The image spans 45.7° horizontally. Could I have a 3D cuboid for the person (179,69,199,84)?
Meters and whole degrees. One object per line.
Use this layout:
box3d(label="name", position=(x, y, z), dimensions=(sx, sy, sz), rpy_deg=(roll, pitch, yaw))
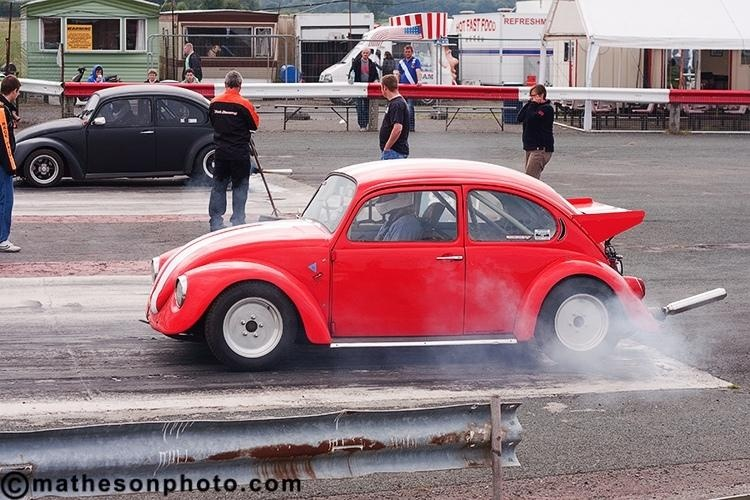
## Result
box3d(label="person", position=(-5.178, -4.886, 25.319), dimensions=(0.365, 0.393, 1.322), rpy_deg=(-2, 16, -11))

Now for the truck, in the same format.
box3d(label="truck", position=(0.665, -8.051, 39.144), dimensions=(5.966, 3.878, 3.287), rpy_deg=(-1, 3, -15))

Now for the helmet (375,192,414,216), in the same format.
box3d(label="helmet", position=(0.216, -0.474, 9.096), dimensions=(0.291, 0.199, 0.231), rpy_deg=(-12, 6, -7))
